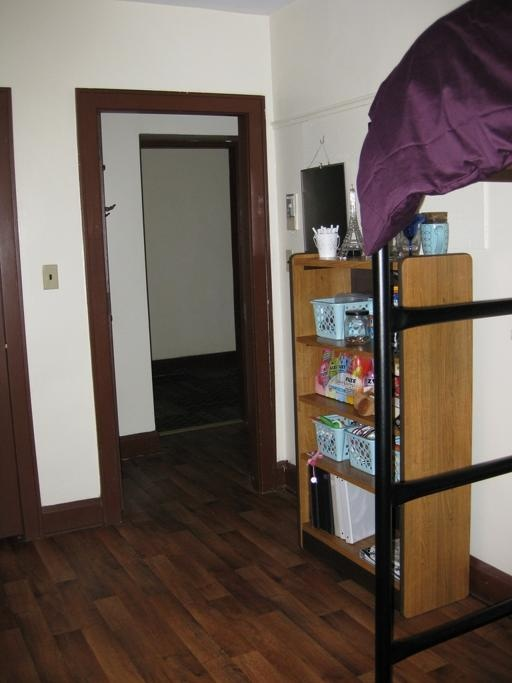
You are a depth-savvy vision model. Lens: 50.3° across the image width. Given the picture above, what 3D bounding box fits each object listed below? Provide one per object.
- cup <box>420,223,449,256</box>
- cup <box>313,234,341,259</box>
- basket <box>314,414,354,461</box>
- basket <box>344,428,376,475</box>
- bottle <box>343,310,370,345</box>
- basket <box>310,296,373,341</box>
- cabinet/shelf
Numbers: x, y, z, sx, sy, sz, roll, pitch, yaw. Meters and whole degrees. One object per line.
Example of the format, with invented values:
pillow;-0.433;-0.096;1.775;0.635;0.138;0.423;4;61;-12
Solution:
cup;0.613;-0.353;1.872;0.094;0.112;0.093;-3;6;0
cup;0.302;-0.404;2.350;0.108;0.095;0.098;3;15;13
basket;0.325;0.459;2.406;0.212;0.152;0.178;-15;-22;2
basket;0.438;0.444;2.270;0.124;0.132;0.186;4;1;20
bottle;0.402;-0.056;2.182;0.126;0.148;0.102;-11;17;-43
basket;0.381;-0.110;2.380;0.240;0.164;0.187;-10;13;-31
cabinet/shelf;0.497;0.291;2.228;0.461;1.333;0.806;-5;6;-23
